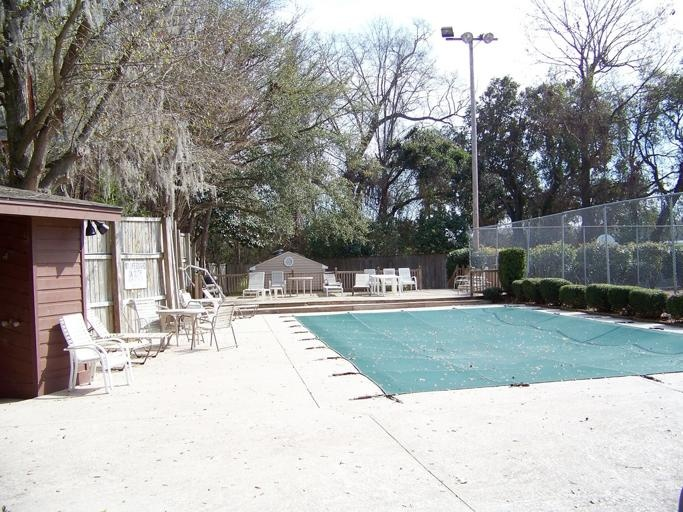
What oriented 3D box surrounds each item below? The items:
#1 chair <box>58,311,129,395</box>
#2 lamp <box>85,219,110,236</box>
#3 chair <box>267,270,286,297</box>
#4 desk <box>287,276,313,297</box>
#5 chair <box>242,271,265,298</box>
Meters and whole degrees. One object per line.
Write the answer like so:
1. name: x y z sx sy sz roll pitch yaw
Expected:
1. chair: -4.009 1.564 8.916 1.025 1.602 1.049 0 0 6
2. lamp: -4.479 -0.538 9.689 0.275 0.248 0.122 1 -4 -26
3. chair: -2.592 1.074 21.755 0.815 1.461 0.972 0 -3 -1
4. desk: -1.980 1.352 25.046 0.878 0.681 0.976 0 -6 0
5. chair: -3.496 1.103 20.729 0.665 1.232 1.317 0 -5 3
